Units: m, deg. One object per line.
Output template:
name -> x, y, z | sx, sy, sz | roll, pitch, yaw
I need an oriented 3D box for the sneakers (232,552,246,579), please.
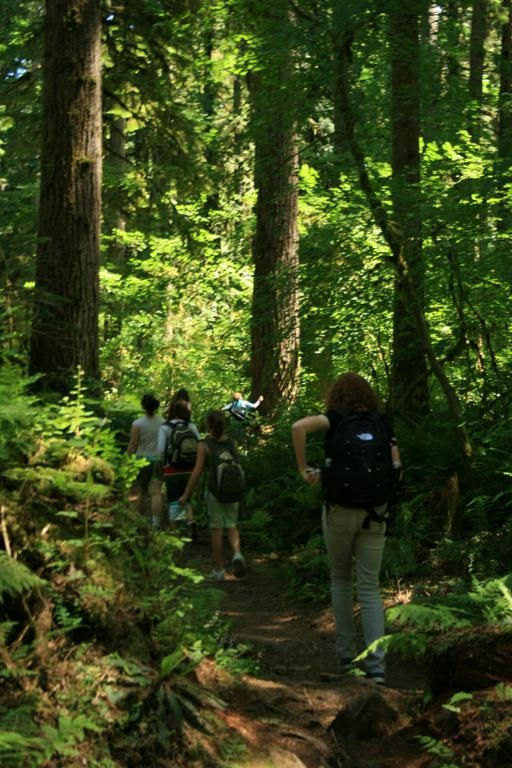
sneakers -> -0.155, 1.735, 8.170 | 0.113, 0.261, 0.125 | -3, 25, 0

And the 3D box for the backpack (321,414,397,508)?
backpack -> 0.594, 0.460, 5.044 | 0.469, 0.574, 0.329 | 6, -25, -10

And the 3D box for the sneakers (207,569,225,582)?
sneakers -> -0.368, 1.807, 8.123 | 0.084, 0.077, 0.191 | 1, -6, -15

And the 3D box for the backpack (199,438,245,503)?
backpack -> -0.306, 0.817, 8.063 | 0.418, 0.600, 0.288 | 7, -6, -1
